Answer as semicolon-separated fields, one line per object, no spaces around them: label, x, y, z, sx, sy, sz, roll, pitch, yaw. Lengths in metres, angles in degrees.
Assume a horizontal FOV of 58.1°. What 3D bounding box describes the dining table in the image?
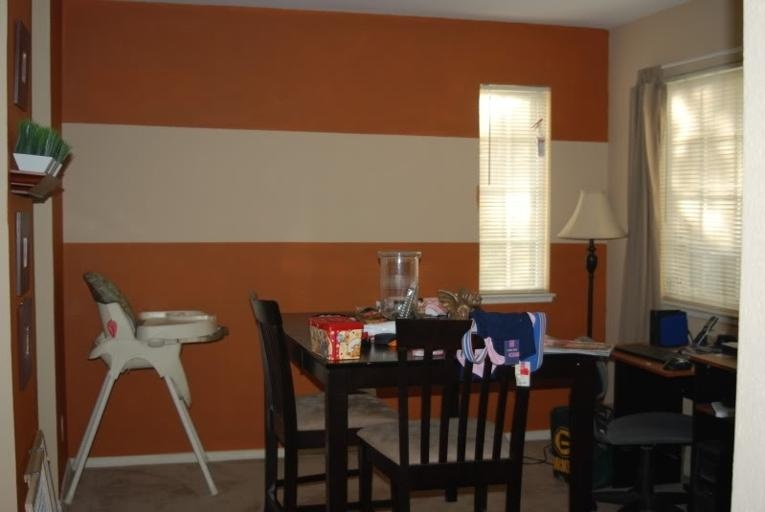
dining table;0.097;0.708;3.912;1.485;0.844;1.157;0;-1;-15

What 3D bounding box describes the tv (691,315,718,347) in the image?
tv;2.196;0.493;4.699;0.158;0.213;0.276;1;6;27

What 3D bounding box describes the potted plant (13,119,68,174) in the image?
potted plant;-1.810;-0.570;3.611;0.234;0.283;0.387;-3;5;-16

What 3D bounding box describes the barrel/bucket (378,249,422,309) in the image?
barrel/bucket;0.107;0.146;4.157;0.237;0.377;0.249;2;7;0

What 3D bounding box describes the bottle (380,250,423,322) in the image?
bottle;0.108;0.186;4.163;0.285;0.463;0.307;1;0;0

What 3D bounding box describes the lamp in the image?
lamp;1.591;0.083;5.288;0.492;1.177;0.508;0;5;14

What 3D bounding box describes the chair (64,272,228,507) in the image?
chair;-1.477;0.691;5.118;1.394;1.868;1.078;-1;4;-15
